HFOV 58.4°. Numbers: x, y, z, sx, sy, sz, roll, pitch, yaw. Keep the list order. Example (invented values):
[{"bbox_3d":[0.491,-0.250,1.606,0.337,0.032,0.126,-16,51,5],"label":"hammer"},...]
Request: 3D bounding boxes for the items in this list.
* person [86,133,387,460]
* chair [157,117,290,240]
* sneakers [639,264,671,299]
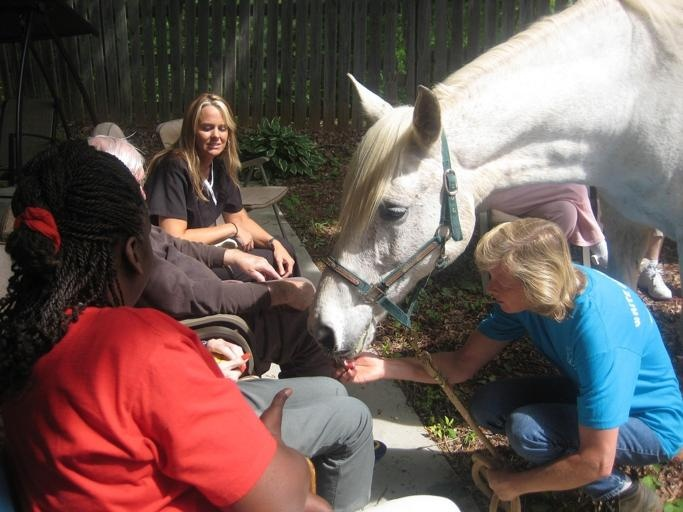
[{"bbox_3d":[-0.527,0.054,3.245,0.991,1.390,0.548,26,32,21],"label":"person"},{"bbox_3d":[-0.853,-0.566,4.198,0.777,1.204,0.711,5,11,12],"label":"chair"},{"bbox_3d":[2.500,0.209,4.883,0.085,0.181,0.251,-23,44,-30],"label":"sneakers"}]
